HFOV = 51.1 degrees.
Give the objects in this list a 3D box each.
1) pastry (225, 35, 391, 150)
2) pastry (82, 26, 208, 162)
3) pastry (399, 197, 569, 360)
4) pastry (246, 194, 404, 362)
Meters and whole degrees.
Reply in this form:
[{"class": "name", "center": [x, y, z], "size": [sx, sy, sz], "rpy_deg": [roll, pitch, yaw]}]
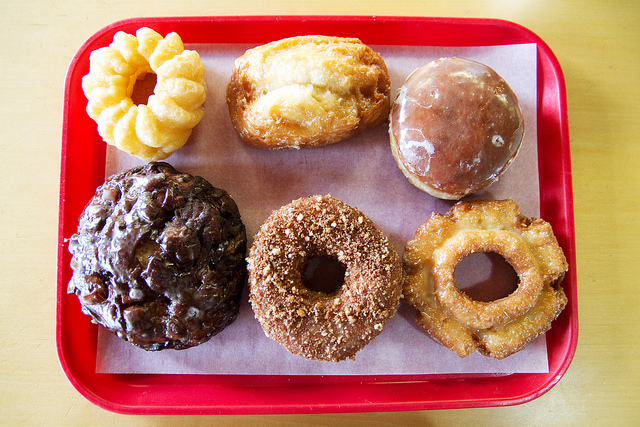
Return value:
[{"class": "pastry", "center": [-0.081, -0.669, 3.511], "size": [0.742, 0.598, 0.616], "rpy_deg": [-15, 32, -19]}, {"class": "pastry", "center": [-0.908, -0.623, 3.589], "size": [0.614, 0.276, 0.721], "rpy_deg": [-3, 86, 0]}, {"class": "pastry", "center": [0.885, 0.343, 3.585], "size": [0.862, 0.280, 0.856], "rpy_deg": [-5, 67, 14]}, {"class": "pastry", "center": [0.007, 0.334, 3.730], "size": [0.774, 0.332, 0.873], "rpy_deg": [-5, 87, -2]}]
